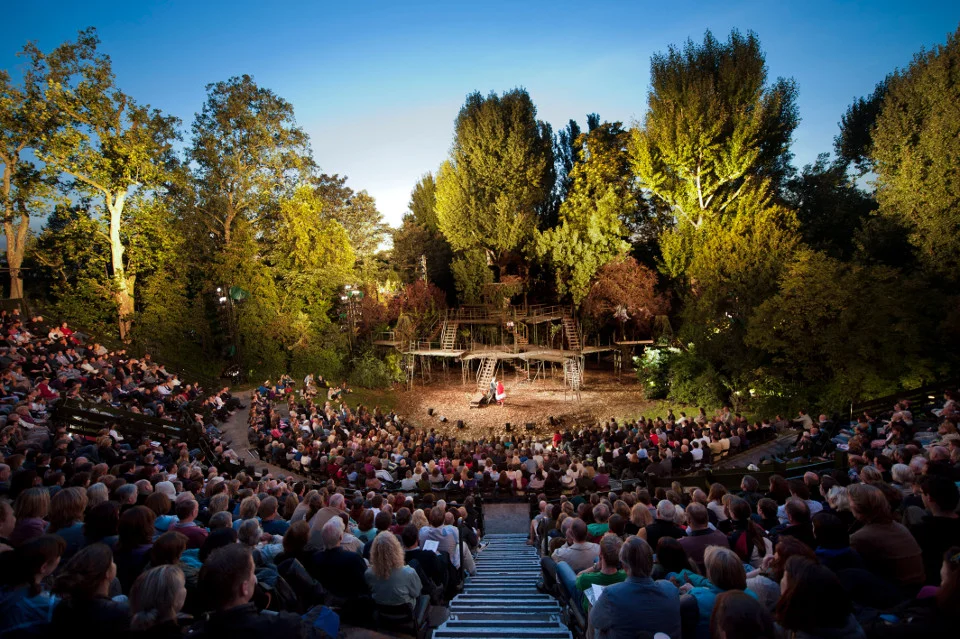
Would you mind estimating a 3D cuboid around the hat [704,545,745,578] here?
[{"bbox_3d":[3.838,3.930,9.770,0.453,0.633,0.622,1,-14,-3],"label":"hat"}]

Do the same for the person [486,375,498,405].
[{"bbox_3d":[0.686,4.360,36.921,0.465,1.639,0.597,3,-14,10],"label":"person"}]
